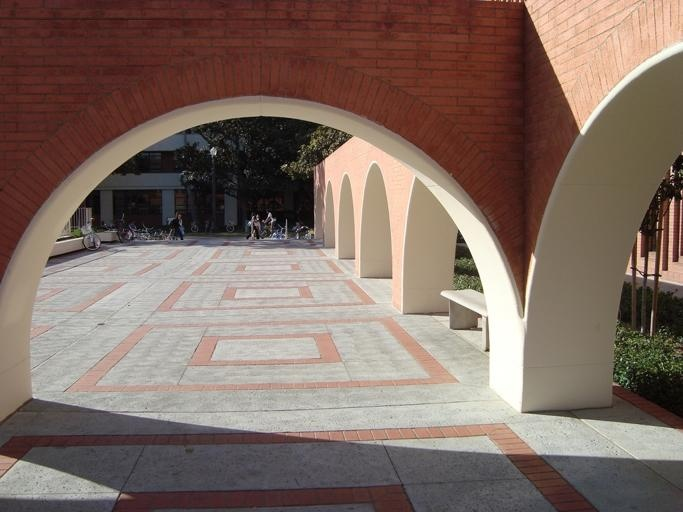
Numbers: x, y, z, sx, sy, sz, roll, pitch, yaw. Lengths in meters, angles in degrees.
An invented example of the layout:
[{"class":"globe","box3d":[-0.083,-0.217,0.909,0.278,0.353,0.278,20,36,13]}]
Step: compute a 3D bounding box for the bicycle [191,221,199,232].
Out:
[{"class":"bicycle","box3d":[-12.305,-2.483,37.783,0.339,0.883,0.935,-2,35,-11]}]
